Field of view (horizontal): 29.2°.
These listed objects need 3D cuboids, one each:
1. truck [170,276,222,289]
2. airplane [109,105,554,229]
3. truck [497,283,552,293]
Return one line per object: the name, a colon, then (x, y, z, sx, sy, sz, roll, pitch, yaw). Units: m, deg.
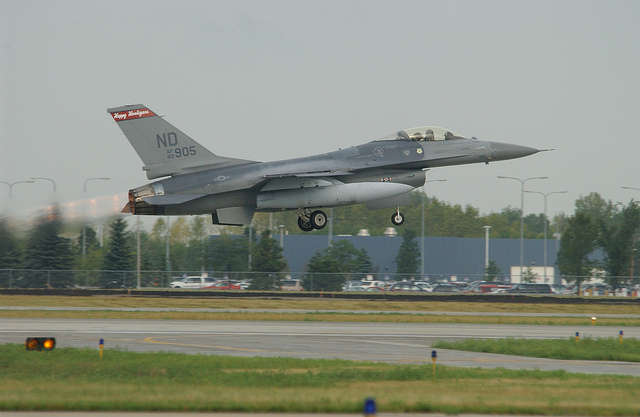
truck: (-12.083, 7.075, 118.337, 4.193, 0.845, 1.656, 1, -1, 7)
airplane: (1.277, -3.396, 88.154, 29.967, 6.708, 15.515, -4, 4, -4)
truck: (18.867, 7.516, 115.434, 6.071, 0.952, 1.348, 0, -1, -2)
